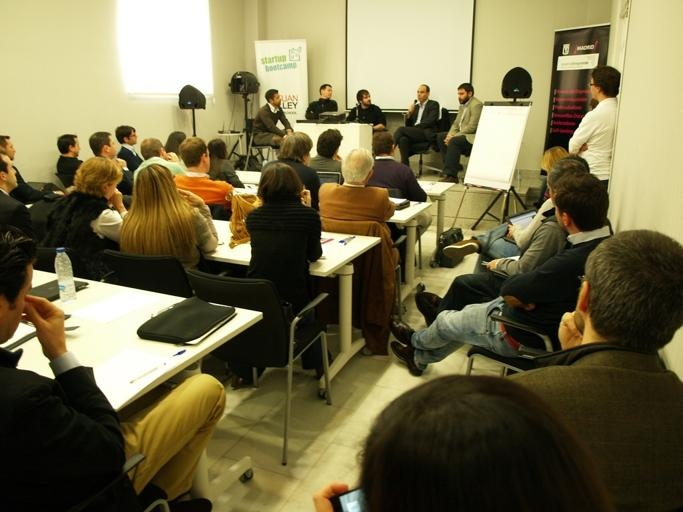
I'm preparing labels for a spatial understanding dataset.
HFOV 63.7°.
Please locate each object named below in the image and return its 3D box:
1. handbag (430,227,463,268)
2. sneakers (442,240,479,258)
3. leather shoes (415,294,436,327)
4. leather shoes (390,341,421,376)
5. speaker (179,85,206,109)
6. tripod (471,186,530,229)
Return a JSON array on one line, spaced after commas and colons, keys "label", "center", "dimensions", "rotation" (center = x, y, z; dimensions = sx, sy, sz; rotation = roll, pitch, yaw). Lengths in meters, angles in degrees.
[{"label": "handbag", "center": [0.942, -0.061, 4.943], "dimensions": [0.136, 0.272, 0.382], "rotation": [4, 13, 26]}, {"label": "sneakers", "center": [0.843, -0.056, 3.913], "dimensions": [0.176, 0.067, 0.125], "rotation": [-5, 22, 17]}, {"label": "leather shoes", "center": [0.601, 0.383, 3.863], "dimensions": [0.117, 0.233, 0.091], "rotation": [0, -6, 1]}, {"label": "leather shoes", "center": [0.392, 0.629, 3.496], "dimensions": [0.093, 0.120, 0.277], "rotation": [-8, 36, -24]}, {"label": "speaker", "center": [-2.197, -2.355, 8.175], "dimensions": [0.298, 0.385, 0.413], "rotation": [-4, 36, 0]}, {"label": "tripod", "center": [1.737, -0.532, 6.123], "dimensions": [0.502, 0.787, 0.513], "rotation": [7, 14, 10]}]
